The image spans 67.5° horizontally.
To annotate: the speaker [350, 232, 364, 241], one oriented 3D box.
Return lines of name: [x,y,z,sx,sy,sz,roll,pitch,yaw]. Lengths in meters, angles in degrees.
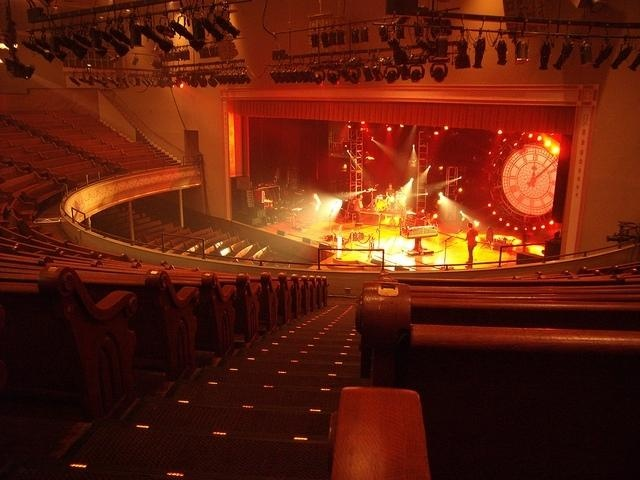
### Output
speaker: [1.236,-0.110,16.011,0.318,0.336,0.235,3,-31,10]
